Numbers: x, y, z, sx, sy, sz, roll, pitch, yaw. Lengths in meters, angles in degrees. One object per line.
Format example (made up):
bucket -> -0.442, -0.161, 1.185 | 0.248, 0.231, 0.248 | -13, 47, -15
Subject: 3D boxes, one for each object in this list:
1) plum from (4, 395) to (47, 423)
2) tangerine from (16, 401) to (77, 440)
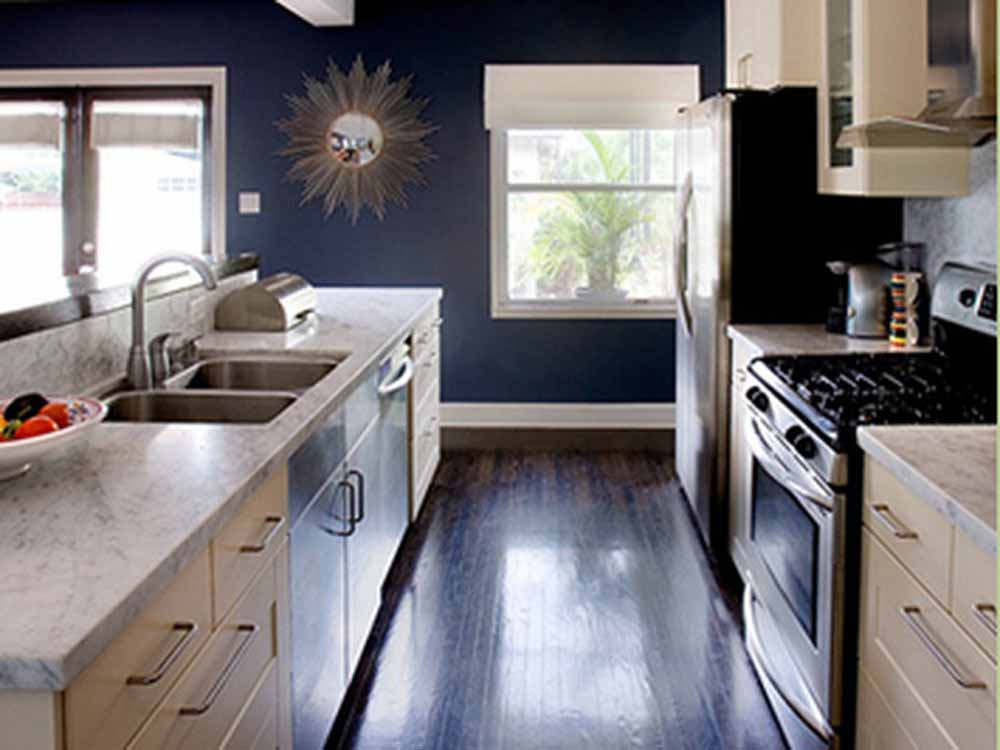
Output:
plum -> -0.954, 0.058, 1.535 | 0.044, 0.019, 0.062 | -4, 21, -6
tangerine -> -0.891, 0.082, 1.489 | 0.046, 0.046, 0.087 | -3, 19, -1
